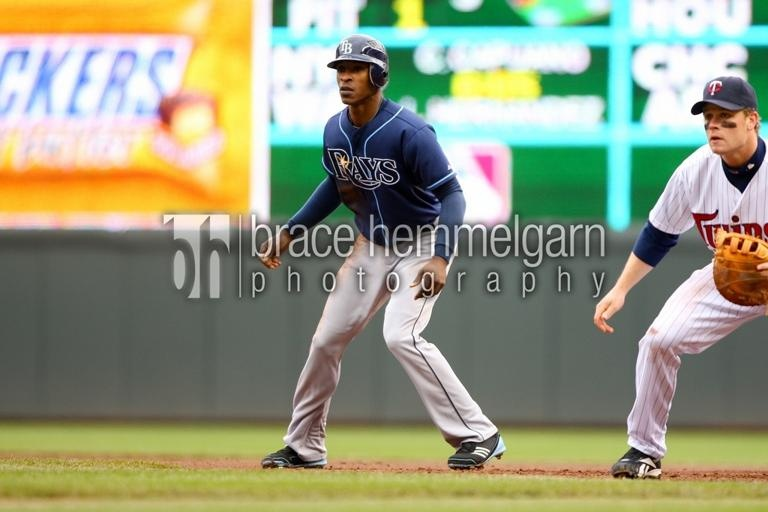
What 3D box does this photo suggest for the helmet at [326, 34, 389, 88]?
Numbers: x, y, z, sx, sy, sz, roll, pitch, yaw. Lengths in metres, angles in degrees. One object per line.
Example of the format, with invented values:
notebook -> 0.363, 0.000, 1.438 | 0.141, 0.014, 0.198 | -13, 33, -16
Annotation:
helmet -> -0.144, -1.211, 8.198 | 0.357, 0.285, 0.277 | 4, -6, -41

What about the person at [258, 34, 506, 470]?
person -> -0.013, 0.002, 8.242 | 1.381, 2.762, 0.702 | -1, 12, 4

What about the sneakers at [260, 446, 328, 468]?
sneakers -> -0.557, 1.328, 8.341 | 0.387, 0.178, 0.155 | 9, -12, -17

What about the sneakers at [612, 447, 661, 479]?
sneakers -> 1.546, 1.307, 8.125 | 0.309, 0.159, 0.144 | 12, -19, -15

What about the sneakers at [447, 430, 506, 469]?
sneakers -> 0.574, 1.242, 8.238 | 0.399, 0.227, 0.161 | -11, -22, -22
